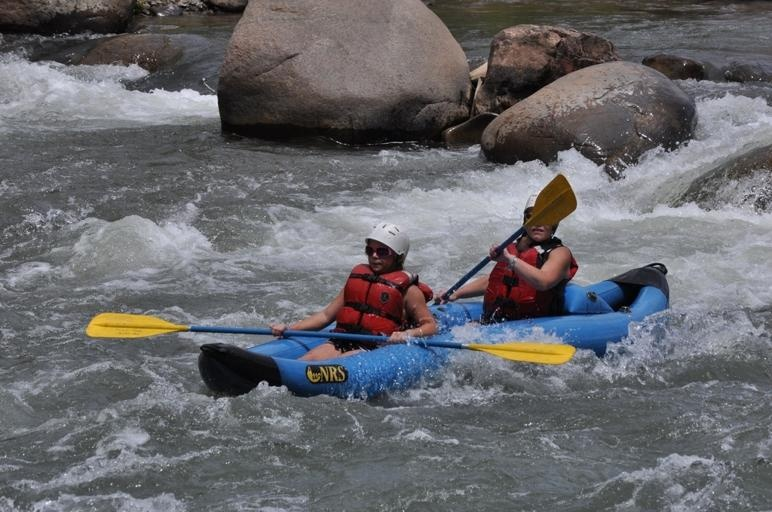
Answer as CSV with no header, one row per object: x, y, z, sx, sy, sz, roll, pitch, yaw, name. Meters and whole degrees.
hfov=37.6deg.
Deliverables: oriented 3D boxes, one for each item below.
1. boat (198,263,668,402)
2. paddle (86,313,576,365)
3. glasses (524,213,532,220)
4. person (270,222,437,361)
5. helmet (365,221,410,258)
1.051,0.931,11.435,5.544,0.672,1.455,-5,14,-12,boat
-0.642,0.667,10.683,4.836,0.372,0.135,0,13,17,paddle
1.435,-0.406,11.450,0.058,0.057,0.022,11,19,19,glasses
-0.213,0.336,11.342,1.853,0.972,1.361,-6,15,-38,person
0.048,-0.152,11.223,0.470,0.258,0.340,6,0,-43,helmet
